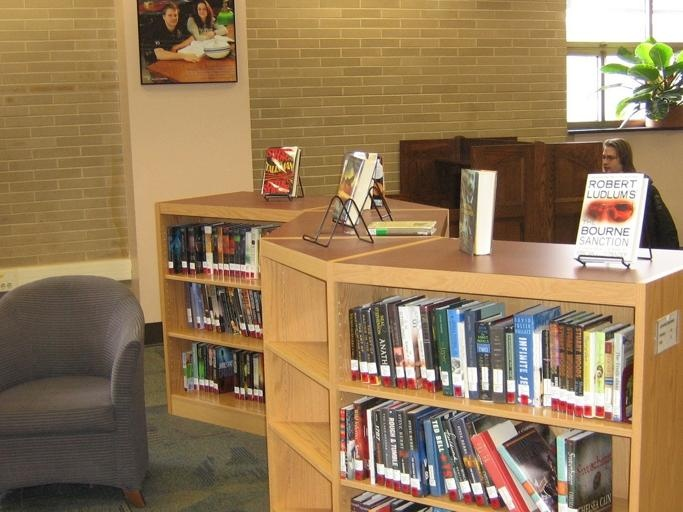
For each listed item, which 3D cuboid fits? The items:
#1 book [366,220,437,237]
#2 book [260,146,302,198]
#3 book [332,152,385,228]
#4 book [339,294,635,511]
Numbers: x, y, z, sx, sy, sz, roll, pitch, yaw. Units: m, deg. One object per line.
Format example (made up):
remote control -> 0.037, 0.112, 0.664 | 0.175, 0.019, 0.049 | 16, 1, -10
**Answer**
book -> 0.269, -0.124, 2.520 | 0.293, 0.048, 0.186 | 0, 11, 5
book -> -0.389, -0.550, 3.753 | 0.232, 0.316, 0.166 | 2, 13, 11
book -> 0.066, -0.295, 2.530 | 0.202, 0.325, 0.349 | -1, 12, 0
book -> 0.494, 0.471, 1.851 | 0.860, 0.628, 0.314 | 7, 18, 30
